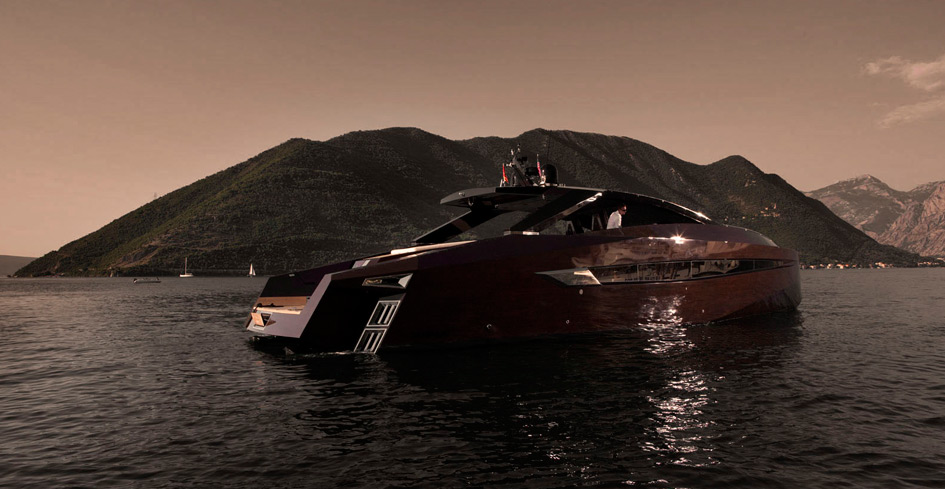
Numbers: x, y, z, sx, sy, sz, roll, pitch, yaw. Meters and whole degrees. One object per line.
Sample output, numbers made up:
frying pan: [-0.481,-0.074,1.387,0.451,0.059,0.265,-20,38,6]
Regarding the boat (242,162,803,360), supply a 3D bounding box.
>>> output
boat: [2.618,0.195,19.719,18.813,3.793,8.465,-3,0,-21]
